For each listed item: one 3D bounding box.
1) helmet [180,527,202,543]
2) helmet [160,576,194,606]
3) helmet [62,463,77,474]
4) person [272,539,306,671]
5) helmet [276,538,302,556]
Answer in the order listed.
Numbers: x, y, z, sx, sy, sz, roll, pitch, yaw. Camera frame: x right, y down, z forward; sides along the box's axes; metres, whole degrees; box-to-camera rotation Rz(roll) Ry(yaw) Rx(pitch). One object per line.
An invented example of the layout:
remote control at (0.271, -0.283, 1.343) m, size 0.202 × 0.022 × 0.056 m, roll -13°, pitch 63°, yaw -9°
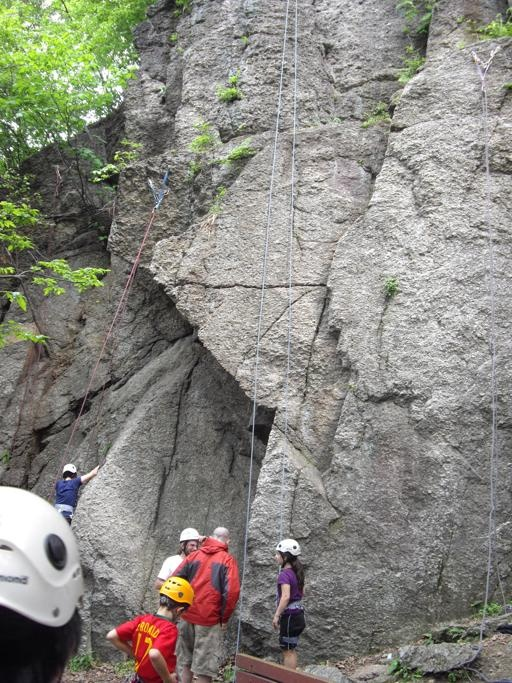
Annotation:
helmet at (-0.656, 1.892, 6.540) m, size 0.227 × 0.111 × 0.157 m, roll -6°, pitch -13°, yaw 6°
helmet at (-0.565, 1.669, 4.543) m, size 0.167 × 0.215 × 0.173 m, roll -23°, pitch 30°, yaw 44°
helmet at (-2.395, 1.615, 8.572) m, size 0.164 × 0.126 × 0.229 m, roll -2°, pitch -19°, yaw -3°
person at (0.304, 2.463, 6.164) m, size 0.319 × 1.201 × 0.481 m, roll 5°, pitch 15°, yaw 4°
helmet at (0.306, 1.888, 6.199) m, size 0.218 × 0.111 × 0.155 m, roll 2°, pitch 5°, yaw -3°
